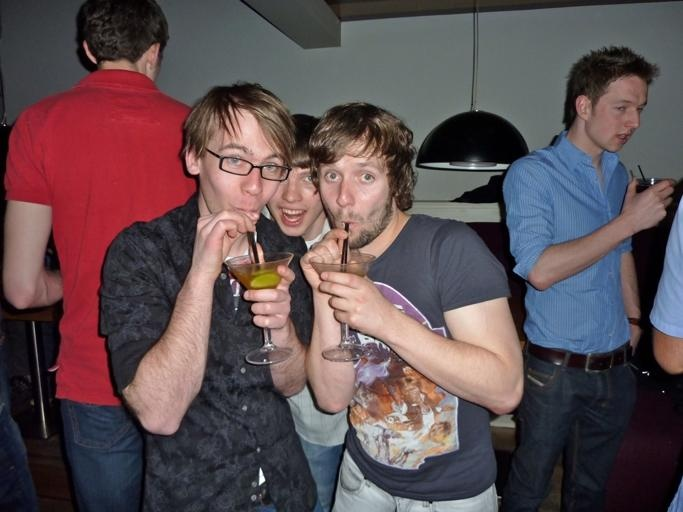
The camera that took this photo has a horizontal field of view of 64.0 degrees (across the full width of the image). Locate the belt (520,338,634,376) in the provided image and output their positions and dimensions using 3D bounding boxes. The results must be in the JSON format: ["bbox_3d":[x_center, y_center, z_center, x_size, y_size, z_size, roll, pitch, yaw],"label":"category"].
[{"bbox_3d":[1.468,0.596,3.303,0.642,0.129,0.206,2,12,5],"label":"belt"}]
